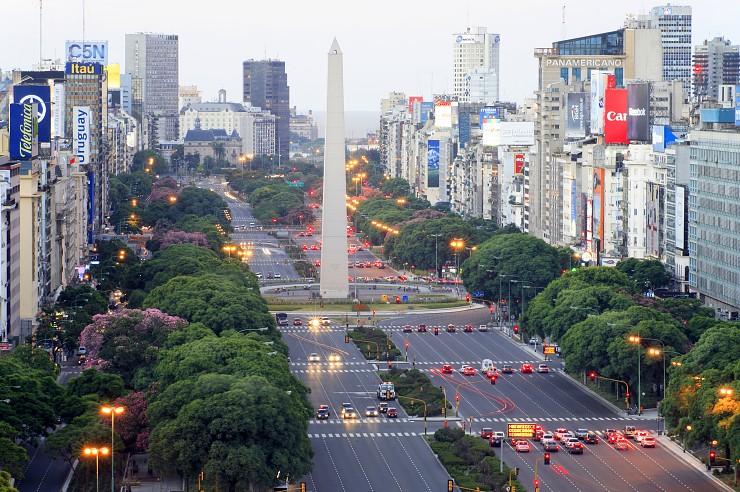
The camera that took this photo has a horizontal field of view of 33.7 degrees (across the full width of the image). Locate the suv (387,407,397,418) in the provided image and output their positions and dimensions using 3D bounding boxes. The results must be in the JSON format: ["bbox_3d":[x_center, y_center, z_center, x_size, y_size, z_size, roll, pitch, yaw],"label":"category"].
[{"bbox_3d":[3.017,22.520,166.548,1.467,1.030,1.766,6,6,7],"label":"suv"}]

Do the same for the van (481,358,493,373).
[{"bbox_3d":[18.201,18.505,189.539,1.336,1.280,2.043,0,-1,-5],"label":"van"}]
